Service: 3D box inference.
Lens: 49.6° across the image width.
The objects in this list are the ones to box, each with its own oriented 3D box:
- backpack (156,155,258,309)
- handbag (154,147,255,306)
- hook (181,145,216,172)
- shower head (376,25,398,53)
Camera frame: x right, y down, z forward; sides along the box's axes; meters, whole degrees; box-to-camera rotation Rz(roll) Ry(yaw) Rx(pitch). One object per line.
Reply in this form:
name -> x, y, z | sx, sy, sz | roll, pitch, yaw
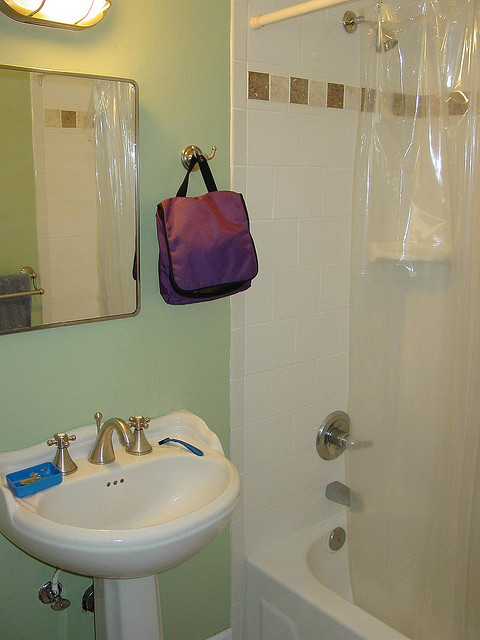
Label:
backpack -> -0.099, -0.227, 1.304 | 0.227, 0.392, 0.170 | -16, 24, -35
handbag -> -0.105, -0.237, 1.300 | 0.244, 0.437, 0.166 | -14, 21, -39
hook -> -0.115, -0.395, 1.342 | 0.063, 0.104, 0.064 | 4, 6, 38
shower head -> 0.309, -0.593, 1.095 | 0.043, 0.048, 0.021 | 0, 10, 20
